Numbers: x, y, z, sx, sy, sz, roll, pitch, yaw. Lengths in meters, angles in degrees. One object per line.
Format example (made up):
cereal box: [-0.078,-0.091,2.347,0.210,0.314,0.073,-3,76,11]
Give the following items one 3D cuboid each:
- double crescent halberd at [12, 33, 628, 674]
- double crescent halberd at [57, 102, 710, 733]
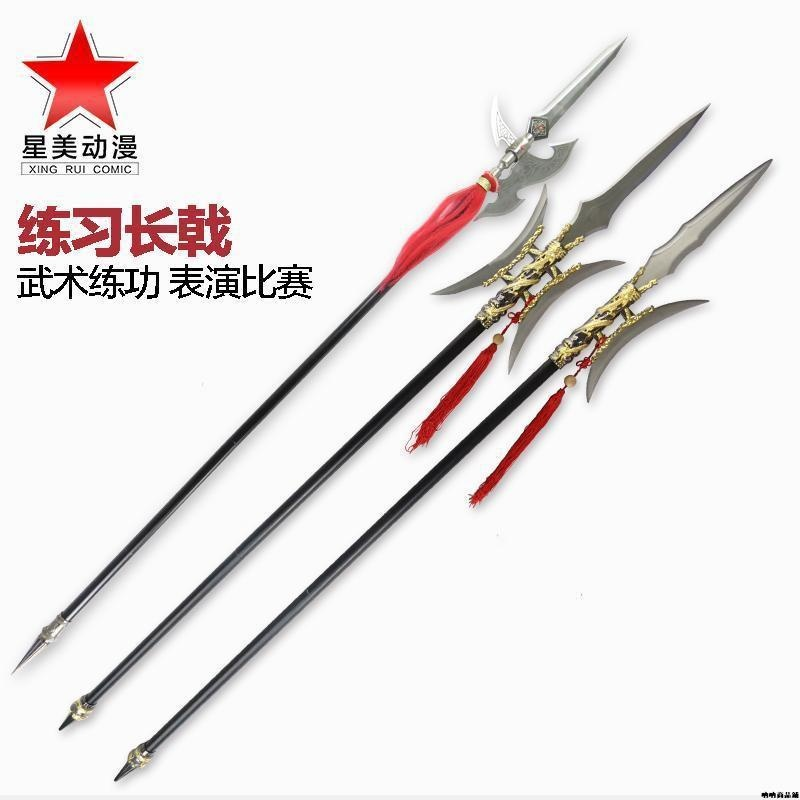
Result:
double crescent halberd: [-0.039,-0.173,3.064,3.266,0.566,0.143,-43,-31,-7]
double crescent halberd: [0.078,-0.117,3.083,3.178,0.682,0.126,-39,-48,2]
